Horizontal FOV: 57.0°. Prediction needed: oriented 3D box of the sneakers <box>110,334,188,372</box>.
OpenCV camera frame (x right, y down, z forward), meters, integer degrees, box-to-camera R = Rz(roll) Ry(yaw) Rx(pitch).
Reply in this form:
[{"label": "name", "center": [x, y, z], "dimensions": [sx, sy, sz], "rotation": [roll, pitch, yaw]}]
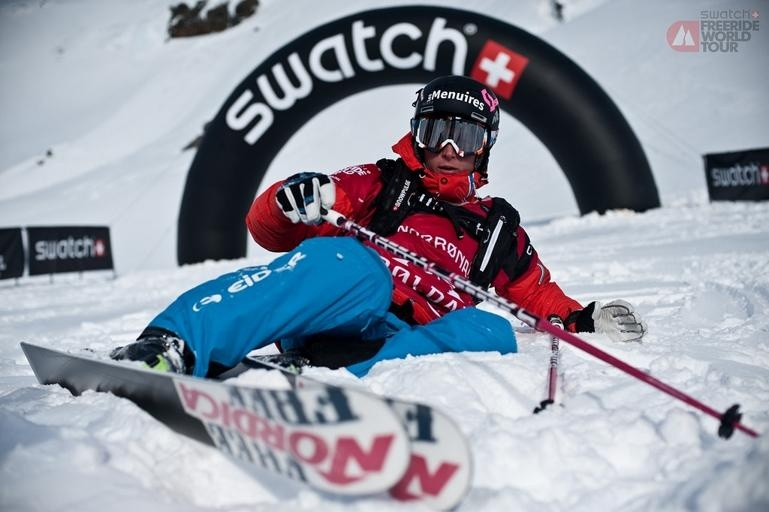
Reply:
[{"label": "sneakers", "center": [-1.542, 0.631, 4.721], "dimensions": [0.343, 0.149, 0.272], "rotation": [9, 4, -15]}]
